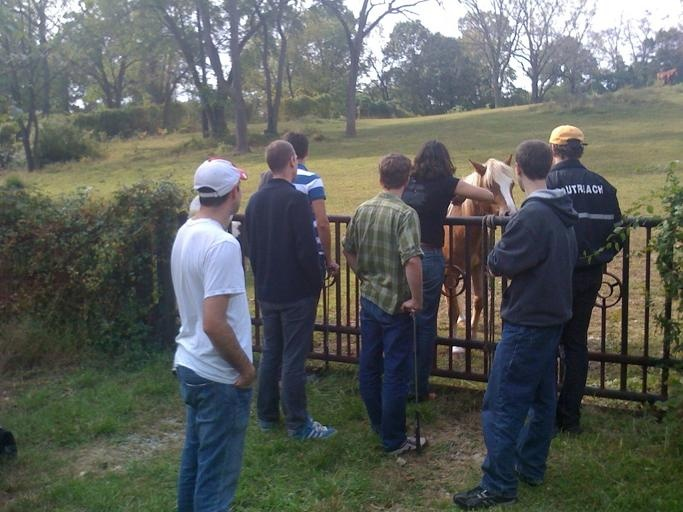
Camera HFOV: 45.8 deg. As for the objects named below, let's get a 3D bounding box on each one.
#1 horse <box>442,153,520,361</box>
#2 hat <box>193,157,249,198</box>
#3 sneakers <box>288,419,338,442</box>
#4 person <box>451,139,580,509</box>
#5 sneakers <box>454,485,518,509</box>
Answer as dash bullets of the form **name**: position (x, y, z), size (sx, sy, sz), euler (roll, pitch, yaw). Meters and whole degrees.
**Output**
- **horse**: position (1.835, 0.179, 11.906), size (0.806, 2.506, 3.454), euler (4, -6, -6)
- **hat**: position (-1.234, -0.821, 8.043), size (0.434, 0.369, 0.669), euler (3, 25, 18)
- **sneakers**: position (-0.325, 2.008, 9.380), size (0.590, 0.287, 0.218), euler (-1, 3, -3)
- **person**: position (1.887, 0.678, 8.413), size (1.149, 3.741, 0.489), euler (-3, 7, -23)
- **sneakers**: position (1.461, 2.493, 8.384), size (0.657, 0.315, 0.250), euler (1, 15, -2)
